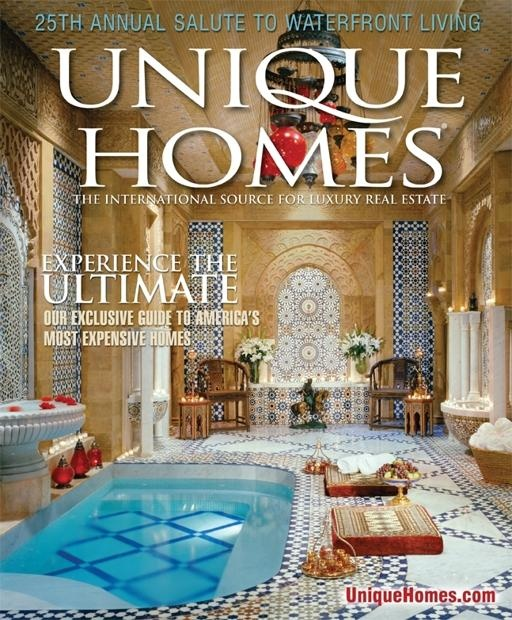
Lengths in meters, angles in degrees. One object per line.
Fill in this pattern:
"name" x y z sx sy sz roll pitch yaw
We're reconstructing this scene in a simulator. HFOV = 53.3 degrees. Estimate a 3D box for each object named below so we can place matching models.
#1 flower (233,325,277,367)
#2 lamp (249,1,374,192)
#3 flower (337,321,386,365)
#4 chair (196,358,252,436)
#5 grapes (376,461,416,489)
"flower" -0.014 0.587 8.300 0.573 0.590 0.607 0 2 34
"lamp" 0.411 -1.562 4.047 0.708 1.435 2.031 -1 -4 7
"flower" 1.711 0.527 8.391 0.606 0.568 0.575 -11 4 0
"chair" -0.490 1.280 7.681 0.800 1.056 0.766 2 -6 -36
"grapes" 1.122 1.270 4.004 0.230 0.157 0.231 0 1 33
